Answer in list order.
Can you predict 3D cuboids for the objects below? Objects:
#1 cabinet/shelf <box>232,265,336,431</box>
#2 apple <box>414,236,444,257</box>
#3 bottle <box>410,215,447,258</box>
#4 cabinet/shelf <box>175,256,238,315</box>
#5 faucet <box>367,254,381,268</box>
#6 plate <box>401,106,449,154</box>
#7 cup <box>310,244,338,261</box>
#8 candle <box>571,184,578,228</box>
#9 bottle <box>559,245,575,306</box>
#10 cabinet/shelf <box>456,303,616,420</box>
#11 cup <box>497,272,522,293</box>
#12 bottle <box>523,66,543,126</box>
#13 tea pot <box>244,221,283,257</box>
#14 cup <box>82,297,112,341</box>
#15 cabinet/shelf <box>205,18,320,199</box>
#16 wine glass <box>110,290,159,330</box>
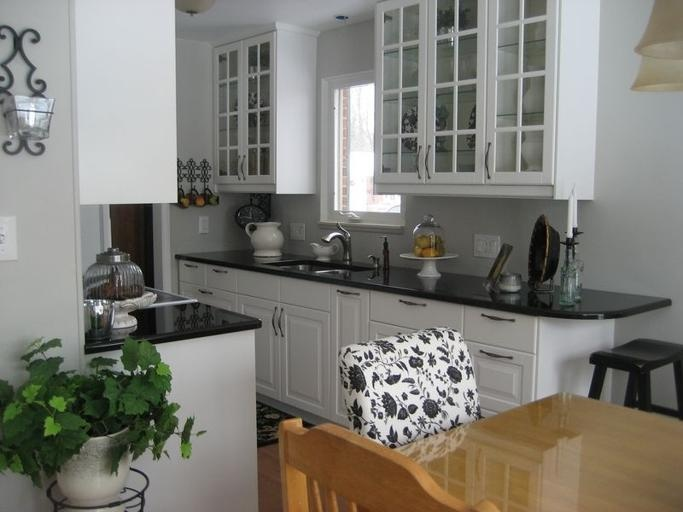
[{"bbox_3d":[-0.264,0.625,3.867,0.544,1.030,1.165,-4,5,-42],"label":"cabinet/shelf"},{"bbox_3d":[0.563,-0.073,3.187,0.136,0.118,0.138,-2,6,-21],"label":"apple"},{"bbox_3d":[0.552,-0.113,3.195,0.232,0.282,0.240,0,-1,0],"label":"bottle"},{"bbox_3d":[-1.114,0.243,4.200,0.357,0.396,0.609,0,4,-45],"label":"cabinet/shelf"},{"bbox_3d":[0.239,0.039,3.677,0.046,0.068,0.160,2,5,19],"label":"faucet"},{"bbox_3d":[0.498,-0.806,3.269,0.280,0.303,0.066,11,12,36],"label":"plate"},{"bbox_3d":[-0.133,-0.028,4.067,0.188,0.118,0.121,3,0,-10],"label":"cup"},{"bbox_3d":[1.185,-0.240,2.584,0.020,0.204,0.106,1,7,27],"label":"candle"},{"bbox_3d":[1.145,0.110,2.543,0.070,0.294,0.072,-3,-1,0],"label":"bottle"},{"bbox_3d":[0.980,0.633,2.680,0.507,0.805,0.723,-1,4,-32],"label":"cabinet/shelf"},{"bbox_3d":[0.925,0.143,2.764,0.100,0.079,0.099,1,1,0],"label":"cup"},{"bbox_3d":[1.019,-0.815,2.700,0.114,0.247,0.019,4,9,42],"label":"bottle"},{"bbox_3d":[-0.650,-0.139,4.254,0.326,0.306,0.261,1,5,10],"label":"tea pot"},{"bbox_3d":[-0.926,0.243,1.942,0.127,0.157,0.137,0,1,0],"label":"cup"},{"bbox_3d":[-0.626,-1.261,4.265,1.209,1.791,0.600,3,5,45],"label":"cabinet/shelf"},{"bbox_3d":[-0.857,0.223,2.115,0.120,0.138,0.311,-1,6,15],"label":"wine glass"}]
